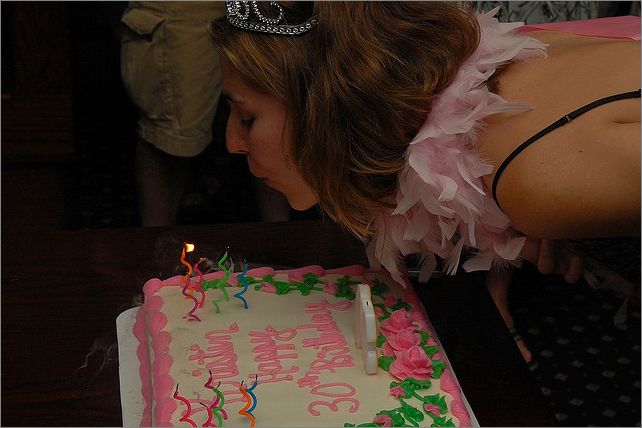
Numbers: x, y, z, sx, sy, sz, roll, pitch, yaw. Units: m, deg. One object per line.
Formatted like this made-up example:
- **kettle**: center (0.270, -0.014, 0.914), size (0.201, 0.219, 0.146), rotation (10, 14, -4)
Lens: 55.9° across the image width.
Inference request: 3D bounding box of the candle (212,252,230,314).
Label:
- **candle**: center (-0.317, 0.221, 1.922), size (0.043, 0.189, 0.038), rotation (7, 6, -2)
